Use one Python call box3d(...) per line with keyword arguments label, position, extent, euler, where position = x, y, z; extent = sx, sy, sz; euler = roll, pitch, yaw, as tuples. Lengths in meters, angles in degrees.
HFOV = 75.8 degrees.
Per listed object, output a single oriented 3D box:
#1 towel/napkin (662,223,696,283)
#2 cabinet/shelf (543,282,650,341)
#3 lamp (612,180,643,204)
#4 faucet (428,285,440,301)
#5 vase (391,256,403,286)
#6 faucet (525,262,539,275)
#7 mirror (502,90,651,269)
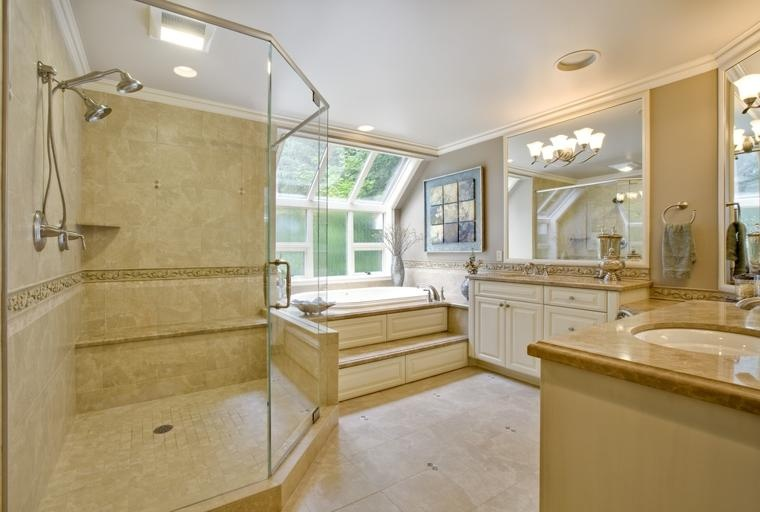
box3d(label="towel/napkin", position=(2.485, -0.039, 4.064), extent=(0.229, 0.442, 0.073), euler=(0, 2, 33))
box3d(label="cabinet/shelf", position=(1.888, 0.639, 4.389), extent=(0.480, 0.768, 0.828), euler=(-3, 3, -30))
box3d(label="lamp", position=(2.227, -0.568, 4.391), extent=(0.078, 0.190, 0.196), euler=(10, -3, -35))
box3d(label="faucet", position=(0.593, 0.428, 5.441), extent=(0.124, 0.159, 0.166), euler=(0, 1, 12))
box3d(label="vase", position=(0.228, 0.212, 6.538), extent=(0.163, 0.394, 0.184), euler=(-1, 1, -5))
box3d(label="faucet", position=(1.558, 0.140, 5.028), extent=(0.129, 0.131, 0.048), euler=(-3, -3, 33))
box3d(label="mirror", position=(1.918, -0.739, 4.661), extent=(0.065, 1.679, 1.675), euler=(0, -1, -43))
